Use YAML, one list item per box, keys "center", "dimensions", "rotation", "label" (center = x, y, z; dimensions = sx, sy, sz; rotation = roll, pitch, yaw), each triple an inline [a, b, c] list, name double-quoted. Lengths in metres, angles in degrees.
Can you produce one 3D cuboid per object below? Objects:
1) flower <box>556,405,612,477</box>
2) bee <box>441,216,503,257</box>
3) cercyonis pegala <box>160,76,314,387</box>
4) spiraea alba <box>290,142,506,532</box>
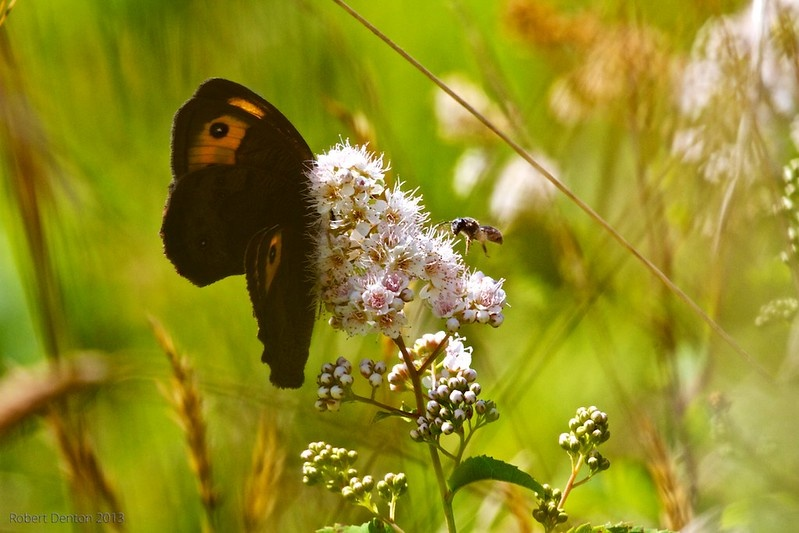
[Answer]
- center: [1.126, 1.022, 6.017]
  dimensions: [0.233, 0.487, 0.208]
  rotation: [-3, 4, 15]
  label: "flower"
- center: [0.469, -0.214, 6.224]
  dimensions: [0.386, 0.228, 0.217]
  rotation: [7, 2, -15]
  label: "bee"
- center: [-0.962, -0.194, 6.176]
  dimensions: [0.991, 1.849, 0.812]
  rotation: [-33, 28, -33]
  label: "cercyonis pegala"
- center: [0.037, 0.226, 6.206]
  dimensions: [0.954, 2.600, 1.265]
  rotation: [0, -5, 4]
  label: "spiraea alba"
